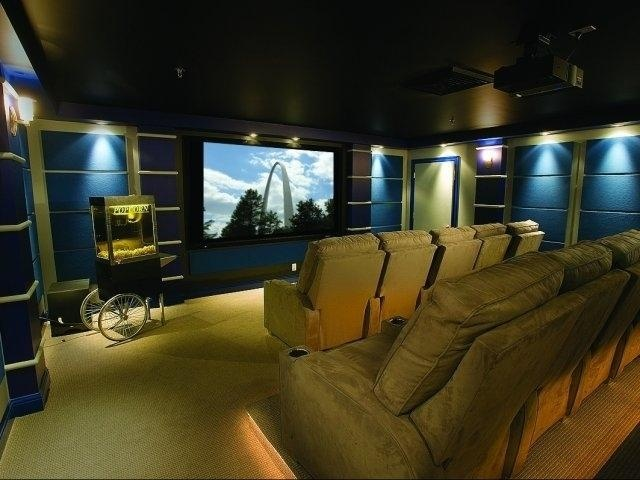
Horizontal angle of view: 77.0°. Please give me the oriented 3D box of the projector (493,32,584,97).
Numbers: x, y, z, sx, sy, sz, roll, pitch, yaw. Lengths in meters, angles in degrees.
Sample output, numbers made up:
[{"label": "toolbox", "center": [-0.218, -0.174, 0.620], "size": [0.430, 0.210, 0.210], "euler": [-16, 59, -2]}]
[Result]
[{"label": "projector", "center": [1.891, -1.521, 3.467], "size": [0.730, 0.398, 0.728], "euler": [5, 12, 18]}]

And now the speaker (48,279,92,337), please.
[{"label": "speaker", "center": [-2.662, 0.690, 4.209], "size": [0.338, 0.411, 0.440], "euler": [-1, 10, -27]}]
